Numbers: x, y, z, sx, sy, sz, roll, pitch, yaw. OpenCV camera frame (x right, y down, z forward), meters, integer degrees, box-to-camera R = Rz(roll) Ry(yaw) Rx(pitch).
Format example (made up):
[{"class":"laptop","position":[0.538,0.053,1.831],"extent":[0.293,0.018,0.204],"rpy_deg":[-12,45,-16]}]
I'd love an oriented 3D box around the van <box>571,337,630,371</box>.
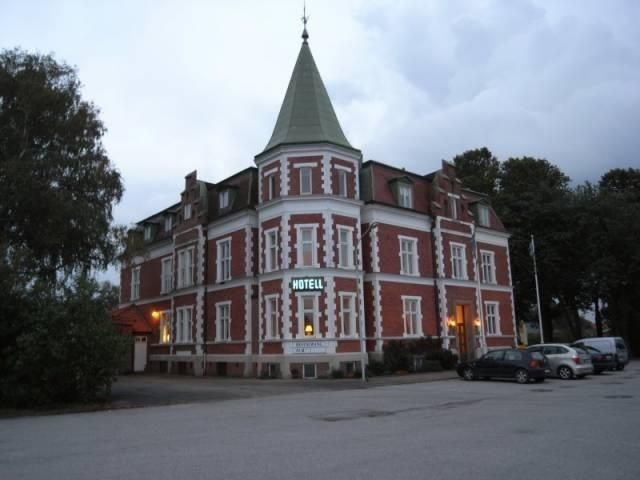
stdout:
[{"class":"van","position":[17.673,7.311,37.747],"extent":[2.031,1.742,2.926],"rpy_deg":[4,-7,-39]}]

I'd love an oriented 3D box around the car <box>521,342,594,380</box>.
[{"class":"car","position":[13.419,6.613,33.243],"extent":[2.980,1.604,1.822],"rpy_deg":[-3,-10,33]}]
